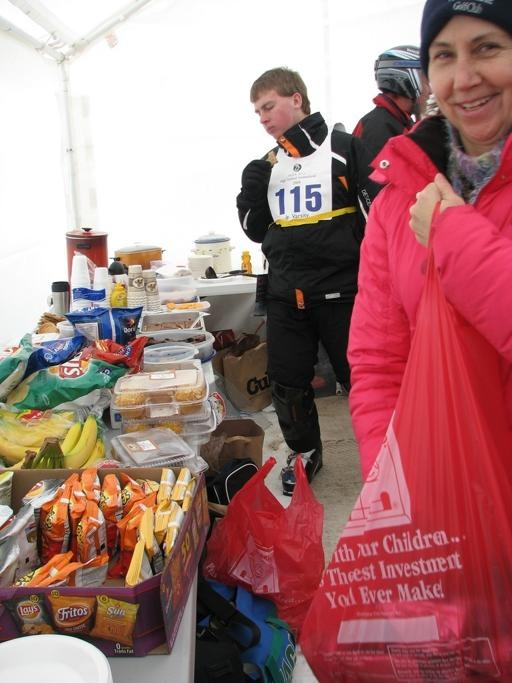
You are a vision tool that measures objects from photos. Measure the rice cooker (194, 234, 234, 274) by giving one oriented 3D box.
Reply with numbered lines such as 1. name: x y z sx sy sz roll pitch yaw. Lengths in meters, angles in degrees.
1. rice cooker: -0.277 -0.575 3.390 0.228 0.244 0.124 -5 8 -5

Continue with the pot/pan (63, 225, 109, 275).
1. pot/pan: -0.870 -0.513 2.737 0.255 0.278 0.259 0 22 -1

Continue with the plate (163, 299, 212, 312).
1. plate: -0.306 -0.159 2.284 0.134 0.022 0.086 0 20 4

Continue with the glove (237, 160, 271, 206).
1. glove: -0.006 -0.733 2.386 0.162 0.201 0.089 7 10 22
